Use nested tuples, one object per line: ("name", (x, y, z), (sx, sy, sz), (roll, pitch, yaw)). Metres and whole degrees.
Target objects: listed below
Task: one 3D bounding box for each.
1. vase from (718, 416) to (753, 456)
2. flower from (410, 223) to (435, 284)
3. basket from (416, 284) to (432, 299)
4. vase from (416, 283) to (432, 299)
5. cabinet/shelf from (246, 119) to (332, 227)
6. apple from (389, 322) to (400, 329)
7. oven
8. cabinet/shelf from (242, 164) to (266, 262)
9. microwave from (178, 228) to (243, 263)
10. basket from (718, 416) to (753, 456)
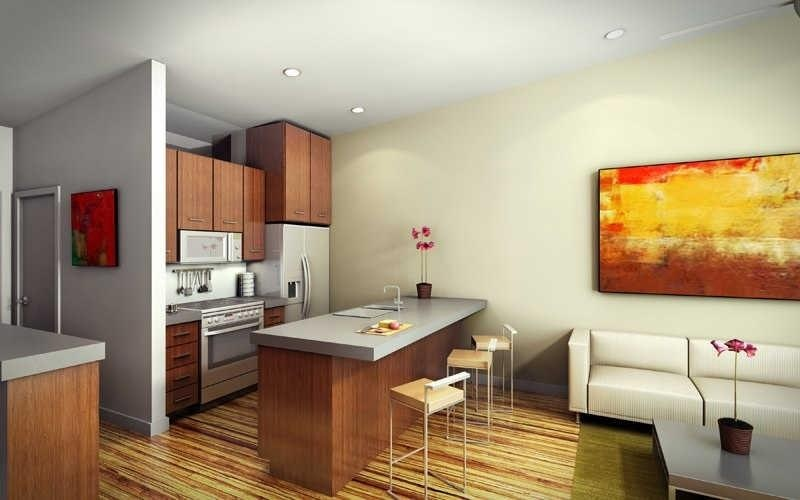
("vase", (3.046, 1.707, 4.879), (0.326, 0.270, 0.277), (-7, 6, 33))
("flower", (0.289, 0.056, 6.969), (0.361, 0.766, 0.291), (-2, 2, 13))
("basket", (0.322, 0.522, 6.757), (0.186, 0.138, 0.192), (0, -7, -1))
("vase", (0.319, 0.511, 6.754), (0.187, 0.139, 0.195), (0, -7, -1))
("cabinet/shelf", (-1.464, -1.037, 7.143), (1.088, 1.343, 0.568), (-3, 2, -17))
("apple", (-0.050, 0.734, 5.137), (0.108, 0.078, 0.085), (-2, 2, -16))
("oven", (-2.301, 1.184, 6.485), (0.817, 1.099, 0.903), (4, 6, 40))
("cabinet/shelf", (-1.898, -0.480, 6.853), (0.097, 1.174, 0.366), (-1, 2, 27))
("microwave", (-2.254, -0.046, 6.557), (0.830, 0.363, 0.379), (1, 5, 9))
("basket", (3.020, 1.703, 4.834), (0.282, 0.266, 0.320), (1, 1, 15))
